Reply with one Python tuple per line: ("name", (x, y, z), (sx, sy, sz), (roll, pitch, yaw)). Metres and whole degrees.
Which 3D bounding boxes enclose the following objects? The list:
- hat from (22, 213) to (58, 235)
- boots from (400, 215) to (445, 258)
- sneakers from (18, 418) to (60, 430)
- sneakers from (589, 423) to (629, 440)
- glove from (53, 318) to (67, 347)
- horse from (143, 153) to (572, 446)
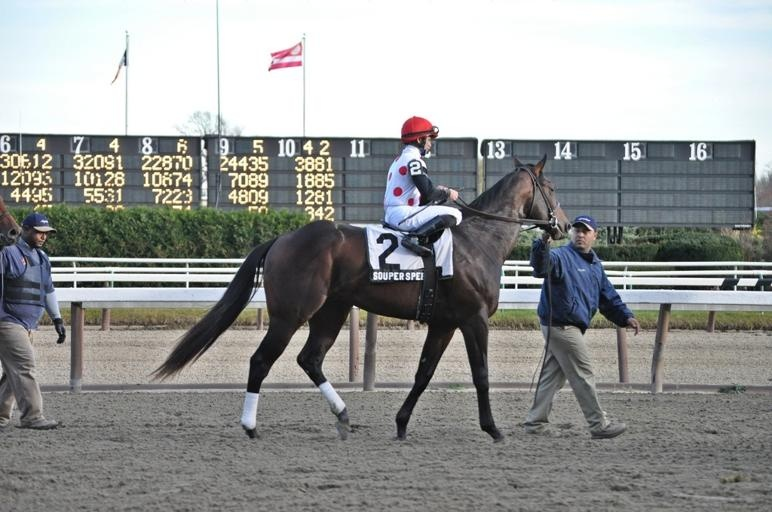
("hat", (-4.441, -0.437, 21.147), (0.421, 0.276, 0.286), (7, 2, 3))
("boots", (0.495, -0.281, 20.625), (0.484, 0.519, 0.197), (-28, -15, 5))
("sneakers", (-4.348, 2.101, 20.777), (0.479, 0.244, 0.185), (1, 4, -1))
("sneakers", (2.809, 2.190, 20.709), (0.451, 0.233, 0.184), (-12, 5, 6))
("glove", (-4.121, 0.933, 21.179), (0.215, 0.414, 0.106), (-3, 0, 30))
("horse", (-0.106, 0.460, 20.985), (4.684, 3.418, 1.369), (1, 11, 0))
